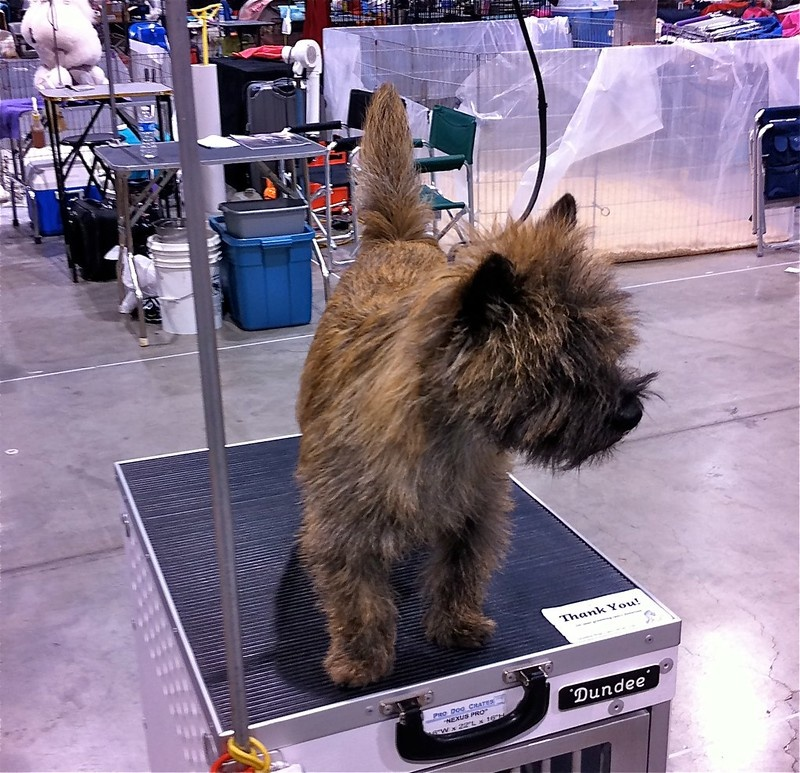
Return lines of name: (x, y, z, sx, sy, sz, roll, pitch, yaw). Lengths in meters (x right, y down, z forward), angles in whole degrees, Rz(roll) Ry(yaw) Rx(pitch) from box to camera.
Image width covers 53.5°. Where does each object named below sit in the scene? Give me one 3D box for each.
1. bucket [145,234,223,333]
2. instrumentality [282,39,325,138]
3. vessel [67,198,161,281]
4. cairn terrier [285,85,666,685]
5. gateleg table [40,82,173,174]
bucket: (-1.272, -0.606, 5.036, 0.480, 0.514, 0.452, 0, 4, 0)
instrumentality: (-0.796, -2.375, 6.361, 0.352, 0.685, 0.213, -12, 34, -22)
vessel: (-2.156, -1.085, 5.978, 0.784, 0.590, 0.976, -2, 18, -19)
cairn terrier: (0.093, 0.066, 1.506, 0.612, 0.828, 0.614, -6, 20, -8)
gateleg table: (-2.401, -2.125, 6.704, 0.718, 0.628, 1.000, 2, 23, 10)
